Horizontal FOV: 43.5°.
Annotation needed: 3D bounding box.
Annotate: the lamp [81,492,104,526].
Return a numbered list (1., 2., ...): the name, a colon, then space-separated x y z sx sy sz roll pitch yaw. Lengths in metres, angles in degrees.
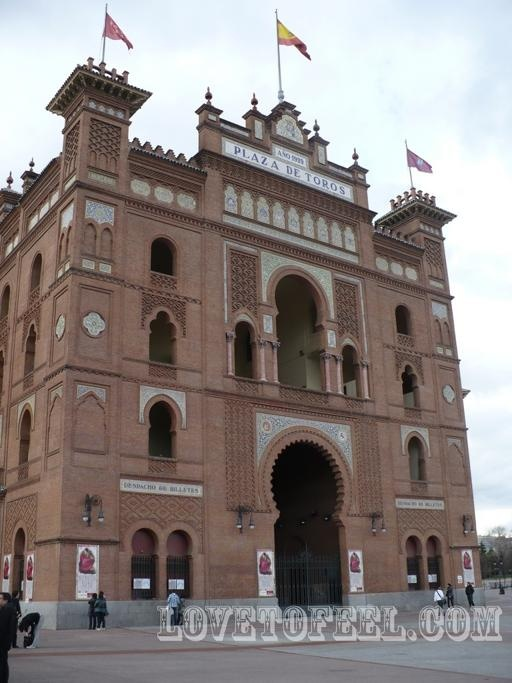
1. lamp: -4.702 4.958 18.760 0.289 0.895 0.667 -18 -26 33

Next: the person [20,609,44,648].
1. person: -4.381 5.658 12.510 0.395 0.608 1.946 4 -21 -17

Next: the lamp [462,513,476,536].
1. lamp: 9.831 8.553 29.761 0.792 0.927 0.240 13 -27 -36

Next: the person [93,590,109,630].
1. person: -4.207 7.349 17.404 0.325 0.936 0.509 1 -22 -11

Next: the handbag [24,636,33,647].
1. handbag: -4.369 5.820 12.371 0.148 0.253 0.141 10 -37 -26

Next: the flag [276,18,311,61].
1. flag: 1.598 -13.452 28.655 1.193 2.711 1.599 -5 -22 4

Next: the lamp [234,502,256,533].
1. lamp: -0.406 6.152 22.145 0.495 0.906 0.978 -21 -26 41

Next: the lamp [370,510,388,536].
1. lamp: 4.947 7.426 25.981 0.409 0.871 0.785 -18 -26 33
